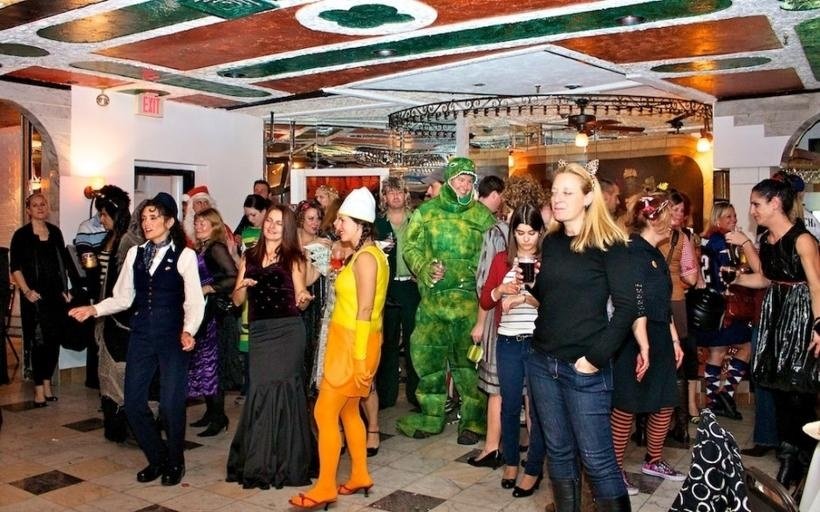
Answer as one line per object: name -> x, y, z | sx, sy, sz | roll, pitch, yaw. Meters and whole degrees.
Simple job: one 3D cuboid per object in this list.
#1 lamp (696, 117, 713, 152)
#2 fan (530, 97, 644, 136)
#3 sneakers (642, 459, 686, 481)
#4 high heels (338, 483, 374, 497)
lamp -> 6.986, -2.831, 13.283 | 0.280, 0.780, 1.507 | 3, 5, 26
fan -> 3.831, -3.019, 12.481 | 2.272, 0.722, 2.134 | -15, 24, -36
sneakers -> 2.239, 1.883, 4.965 | 0.350, 0.111, 0.134 | 0, -4, 27
high heels -> -0.415, 1.922, 4.608 | 0.327, 0.069, 0.118 | 4, -5, 6
